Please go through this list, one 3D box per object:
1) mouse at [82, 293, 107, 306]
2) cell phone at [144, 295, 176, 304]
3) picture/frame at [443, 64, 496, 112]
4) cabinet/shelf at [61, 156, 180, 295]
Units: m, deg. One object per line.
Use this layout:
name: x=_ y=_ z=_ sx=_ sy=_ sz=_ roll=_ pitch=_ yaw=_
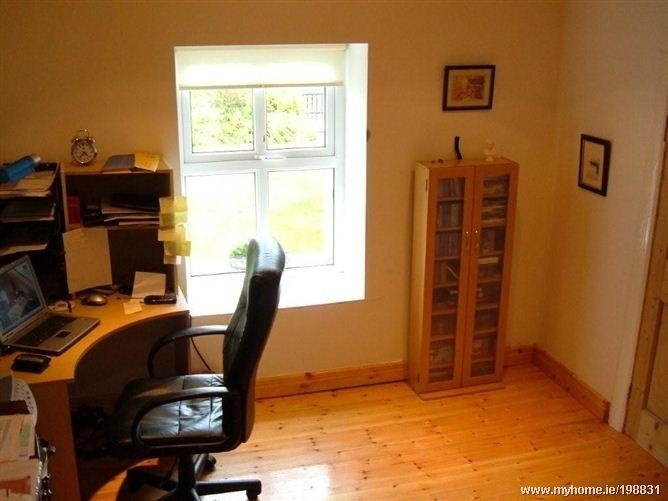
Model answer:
mouse: x=-1.540 y=0.315 z=3.496 sx=0.116 sy=0.037 sz=0.085 roll=0 pitch=23 yaw=-11
cell phone: x=-1.113 y=0.312 z=3.511 sx=0.151 sy=0.034 sz=0.076 roll=0 pitch=19 yaw=-13
picture/frame: x=0.980 y=-1.202 z=3.999 sx=0.351 sy=0.290 sz=0.028 roll=-4 pitch=21 yaw=-13
cabinet/shelf: x=-1.400 y=-0.184 z=3.540 sx=0.766 sy=0.995 sz=0.507 roll=-6 pitch=17 yaw=-29
